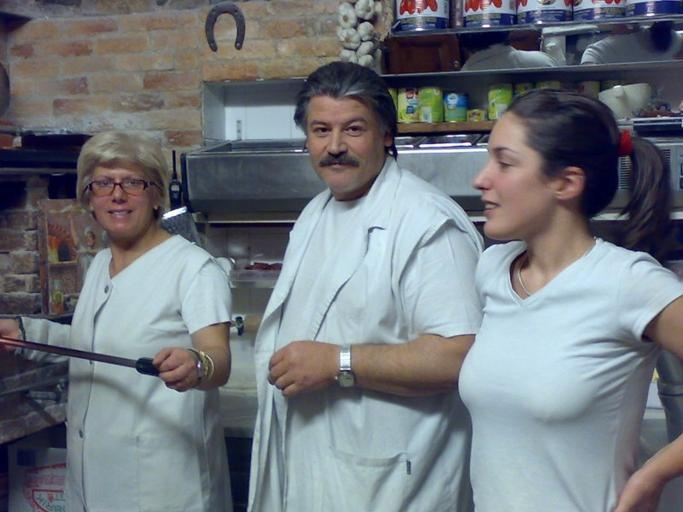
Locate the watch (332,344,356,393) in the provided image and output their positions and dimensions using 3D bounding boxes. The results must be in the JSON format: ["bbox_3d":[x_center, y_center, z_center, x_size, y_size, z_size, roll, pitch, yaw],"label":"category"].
[{"bbox_3d":[0.008,0.276,1.893,0.057,0.088,0.095,0,-26,4],"label":"watch"}]

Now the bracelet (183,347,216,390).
[{"bbox_3d":[-0.353,0.284,1.967,0.045,0.083,0.077,-15,-11,-8],"label":"bracelet"}]
